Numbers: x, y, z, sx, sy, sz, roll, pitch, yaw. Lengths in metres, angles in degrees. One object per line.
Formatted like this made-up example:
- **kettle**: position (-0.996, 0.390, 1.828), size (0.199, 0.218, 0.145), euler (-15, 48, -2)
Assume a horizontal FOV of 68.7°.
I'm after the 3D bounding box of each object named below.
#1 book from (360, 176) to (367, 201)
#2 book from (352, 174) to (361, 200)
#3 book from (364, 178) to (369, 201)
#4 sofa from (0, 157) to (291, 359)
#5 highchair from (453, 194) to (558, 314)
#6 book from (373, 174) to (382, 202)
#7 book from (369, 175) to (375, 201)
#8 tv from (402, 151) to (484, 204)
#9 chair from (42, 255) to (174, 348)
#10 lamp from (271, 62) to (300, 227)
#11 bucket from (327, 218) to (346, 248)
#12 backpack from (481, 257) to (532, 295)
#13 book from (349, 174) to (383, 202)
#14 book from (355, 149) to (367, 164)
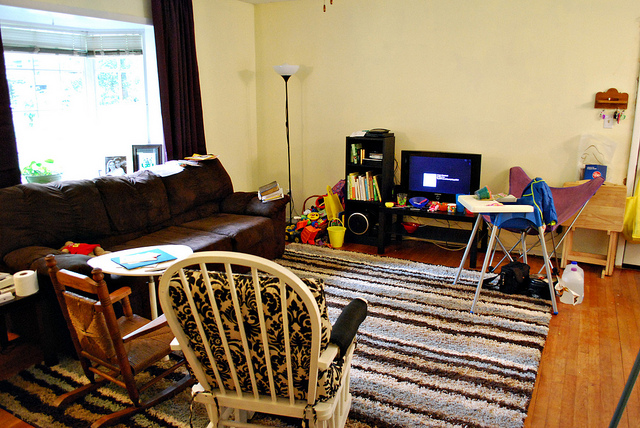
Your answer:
- **book**: position (0.524, -0.321, 5.683), size (0.045, 0.334, 0.263), euler (2, 10, 17)
- **book**: position (0.438, -0.341, 5.712), size (0.155, 0.269, 0.279), euler (2, 8, 16)
- **book**: position (0.561, -0.306, 5.669), size (0.027, 0.255, 0.082), euler (-12, 22, -30)
- **sofa**: position (-1.649, 0.166, 4.558), size (2.502, 1.076, 1.081), euler (-15, 24, -40)
- **highchair**: position (1.708, 0.259, 4.422), size (0.947, 1.142, 1.103), euler (3, 27, 15)
- **book**: position (0.709, -0.335, 5.670), size (0.062, 0.243, 0.244), euler (-3, 8, 12)
- **book**: position (0.621, -0.301, 5.662), size (0.050, 0.203, 0.203), euler (1, 3, 11)
- **tv**: position (1.450, -0.436, 5.408), size (0.681, 0.448, 0.072), euler (6, 17, 25)
- **chair**: position (-1.519, 0.614, 3.266), size (0.542, 0.749, 0.488), euler (11, 28, 21)
- **lamp**: position (-0.437, -1.253, 6.214), size (0.242, 1.291, 0.217), euler (7, 29, 13)
- **bucket**: position (0.200, 0.245, 5.746), size (0.250, 0.325, 0.235), euler (0, 17, 0)
- **backpack**: position (1.846, 0.602, 4.685), size (0.333, 0.225, 0.445), euler (-7, 6, -39)
- **book**: position (0.547, -0.315, 5.678), size (0.421, 0.285, 0.056), euler (7, 20, 19)
- **book**: position (0.489, -0.712, 5.699), size (0.165, 0.213, 0.158), euler (-2, 8, -12)
